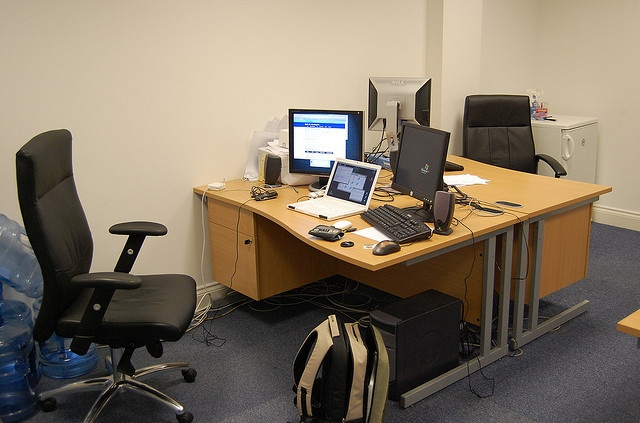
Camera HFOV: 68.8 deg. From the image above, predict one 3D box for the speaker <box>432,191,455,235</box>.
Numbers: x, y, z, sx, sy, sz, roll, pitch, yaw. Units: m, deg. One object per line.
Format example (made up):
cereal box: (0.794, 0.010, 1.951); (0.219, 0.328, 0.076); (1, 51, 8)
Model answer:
speaker: (0.739, -0.004, 2.820); (0.125, 0.241, 0.173); (5, 20, 14)

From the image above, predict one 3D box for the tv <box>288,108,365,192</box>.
tv: (0.065, -0.467, 3.583); (0.582, 0.586, 0.209); (5, 11, 19)

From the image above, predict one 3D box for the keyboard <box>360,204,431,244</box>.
keyboard: (0.456, 0.066, 2.882); (0.250, 0.096, 0.445); (-7, 21, -22)

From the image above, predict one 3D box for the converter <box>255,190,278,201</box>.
converter: (-0.398, -0.121, 3.397); (0.114, 0.038, 0.076); (-17, 25, -33)

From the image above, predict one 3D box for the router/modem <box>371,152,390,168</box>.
router/modem: (0.541, -0.462, 4.188); (0.120, 0.069, 0.214); (-9, 22, -26)

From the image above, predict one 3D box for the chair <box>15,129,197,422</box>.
chair: (-1.228, 0.403, 2.667); (0.944, 1.642, 0.602); (3, 19, 6)

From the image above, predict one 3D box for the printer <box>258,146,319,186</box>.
printer: (-0.276, -0.347, 3.678); (0.334, 0.205, 0.332); (-14, 25, -36)

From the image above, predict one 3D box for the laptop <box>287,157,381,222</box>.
laptop: (0.091, -0.243, 3.067); (0.497, 0.306, 0.468); (-17, 26, -39)

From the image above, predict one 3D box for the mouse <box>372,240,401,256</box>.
mouse: (0.356, 0.197, 2.590); (0.114, 0.041, 0.080); (-13, 19, -37)

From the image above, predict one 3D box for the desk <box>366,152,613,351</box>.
desk: (1.223, 0.215, 3.840); (1.612, 1.029, 1.674); (-1, 16, -29)

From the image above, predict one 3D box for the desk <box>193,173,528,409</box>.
desk: (0.302, 0.306, 3.609); (1.737, 0.899, 2.382); (-16, 19, -41)

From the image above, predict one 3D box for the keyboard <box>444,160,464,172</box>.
keyboard: (1.105, -0.378, 3.912); (0.171, 0.053, 0.129); (-1, 14, -3)
